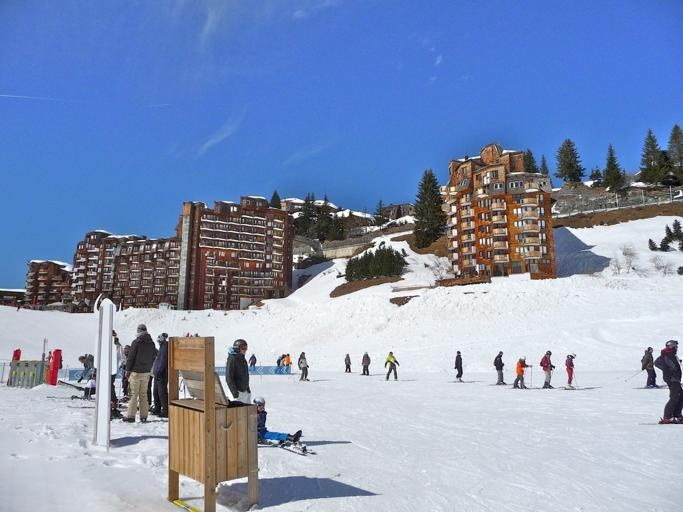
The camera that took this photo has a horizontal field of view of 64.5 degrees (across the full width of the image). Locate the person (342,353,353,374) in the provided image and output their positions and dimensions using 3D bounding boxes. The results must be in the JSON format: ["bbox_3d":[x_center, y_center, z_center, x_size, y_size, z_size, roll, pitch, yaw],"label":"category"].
[{"bbox_3d":[0.370,7.491,37.415,0.461,1.020,1.502,-9,4,-5],"label":"person"}]
